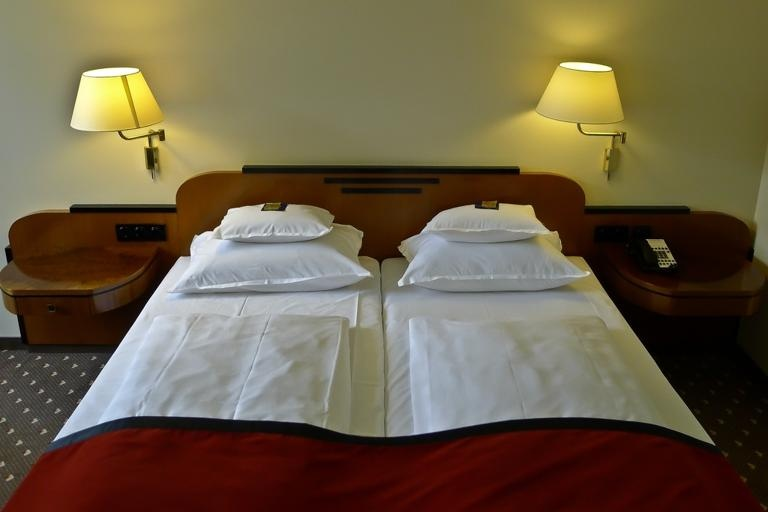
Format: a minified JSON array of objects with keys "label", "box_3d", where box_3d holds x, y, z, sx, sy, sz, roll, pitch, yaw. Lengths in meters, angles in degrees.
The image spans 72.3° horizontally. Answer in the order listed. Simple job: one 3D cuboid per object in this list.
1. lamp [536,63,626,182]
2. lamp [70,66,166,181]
[{"label":"lamp","box_3d":[1.222,-0.832,3.271,0.519,0.682,0.549,2,26,9]},{"label":"lamp","box_3d":[-1.616,-0.791,3.199,0.446,0.611,0.478,10,28,4]}]
